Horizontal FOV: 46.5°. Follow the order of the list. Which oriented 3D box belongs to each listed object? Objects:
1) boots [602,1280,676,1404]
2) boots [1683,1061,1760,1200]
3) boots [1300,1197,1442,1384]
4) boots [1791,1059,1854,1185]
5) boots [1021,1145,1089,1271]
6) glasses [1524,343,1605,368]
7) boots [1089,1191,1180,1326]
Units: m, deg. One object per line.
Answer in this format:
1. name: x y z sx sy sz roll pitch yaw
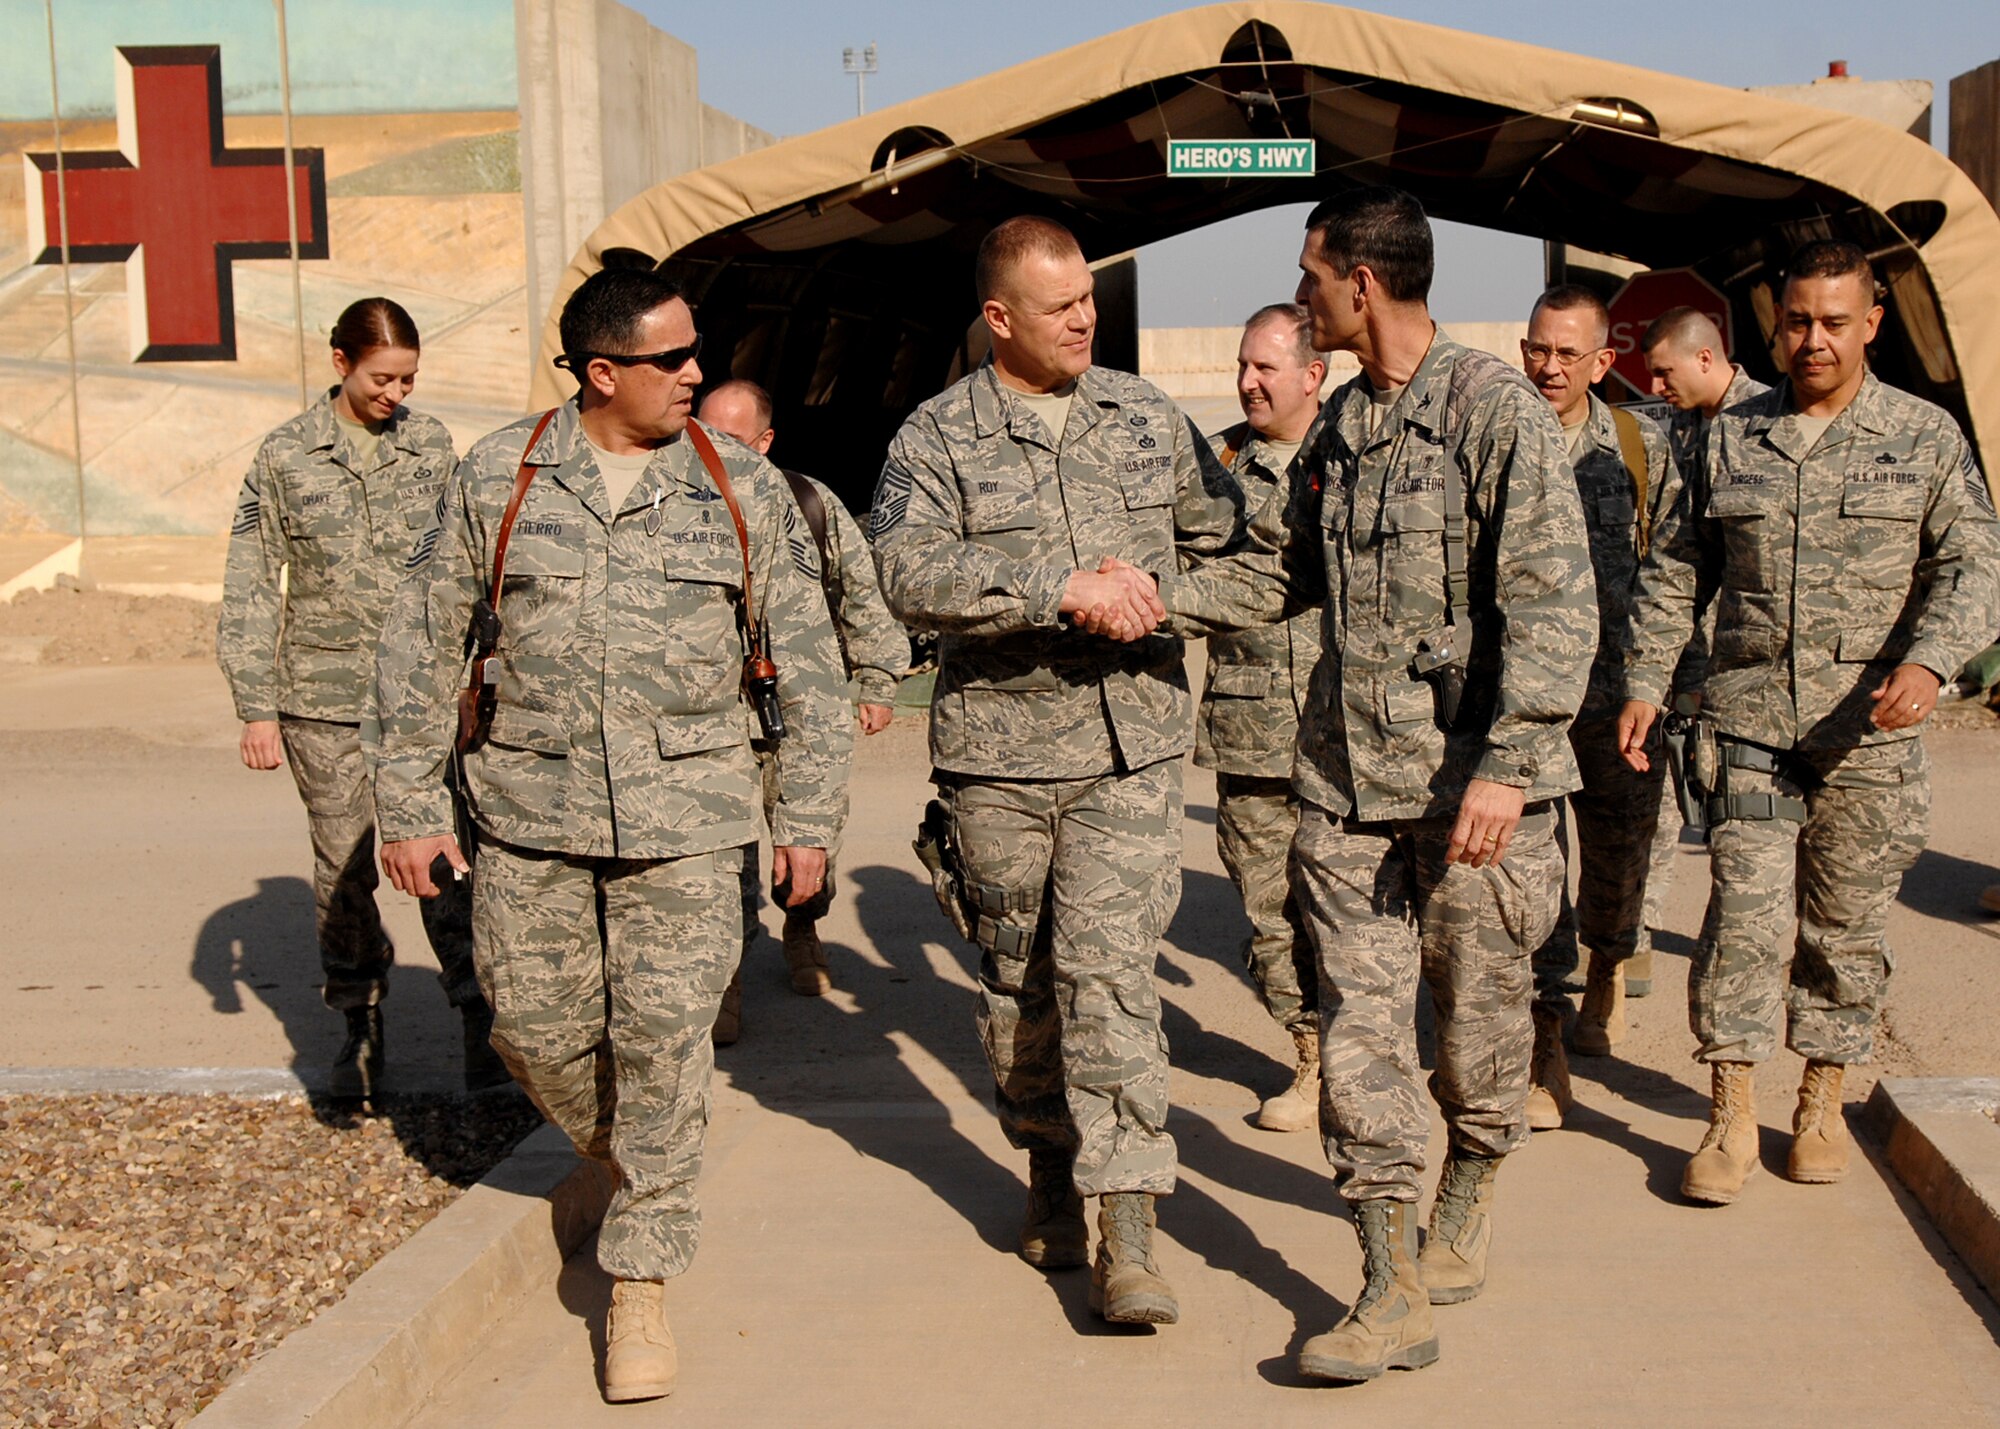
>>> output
1. boots: -0.968 1.653 6.212 0.192 0.310 0.243 0 14 -9
2. boots: 2.228 1.284 7.259 0.200 0.400 0.506 5 15 32
3. boots: 0.966 1.551 6.186 0.369 0.479 0.232 -10 19 -41
4. boots: 2.566 1.262 7.327 0.190 0.334 0.392 5 21 17
5. boots: 0.168 1.399 6.868 0.228 0.347 0.394 -1 25 7
6. glasses: 2.003 -1.276 8.284 0.175 0.064 0.202 4 0 14
7. boots: 0.385 1.498 6.537 0.239 0.413 0.475 4 13 4
